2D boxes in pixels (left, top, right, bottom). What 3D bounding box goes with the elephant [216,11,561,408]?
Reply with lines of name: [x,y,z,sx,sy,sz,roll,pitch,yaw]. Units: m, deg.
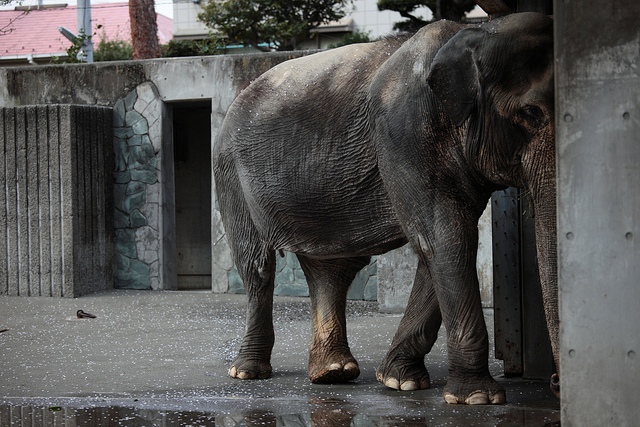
elephant: [0.647,0.040,8.513,3.653,2.637,1.258,0,2,42]
